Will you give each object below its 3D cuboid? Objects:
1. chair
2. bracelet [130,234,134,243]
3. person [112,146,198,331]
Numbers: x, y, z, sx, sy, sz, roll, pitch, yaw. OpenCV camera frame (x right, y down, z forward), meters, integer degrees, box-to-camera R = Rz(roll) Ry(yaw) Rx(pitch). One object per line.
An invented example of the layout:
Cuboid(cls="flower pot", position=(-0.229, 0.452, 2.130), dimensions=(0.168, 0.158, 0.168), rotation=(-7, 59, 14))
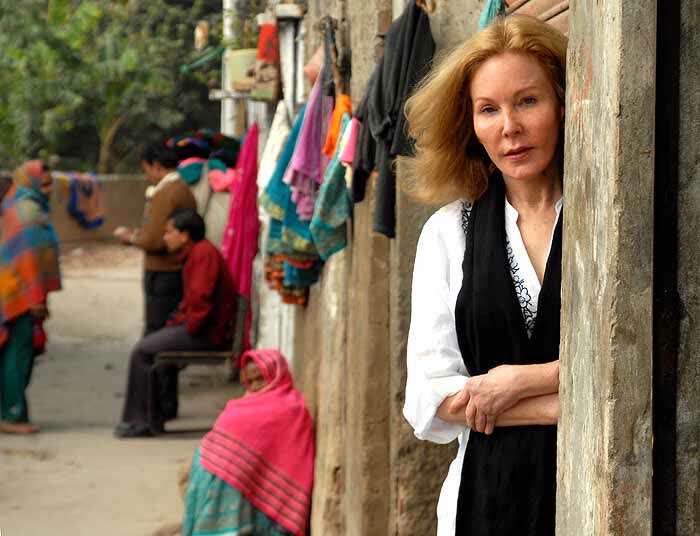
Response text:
Cuboid(cls="chair", position=(-1.039, 0.573, 9.114), dimensions=(0.657, 0.427, 0.919), rotation=(-3, 4, -25))
Cuboid(cls="bracelet", position=(-1.495, -0.195, 9.280), dimensions=(0.013, 0.048, 0.048), rotation=(10, -4, -25))
Cuboid(cls="person", position=(-1.361, -0.038, 9.585), dimensions=(0.577, 1.731, 0.589), rotation=(6, 20, 15))
